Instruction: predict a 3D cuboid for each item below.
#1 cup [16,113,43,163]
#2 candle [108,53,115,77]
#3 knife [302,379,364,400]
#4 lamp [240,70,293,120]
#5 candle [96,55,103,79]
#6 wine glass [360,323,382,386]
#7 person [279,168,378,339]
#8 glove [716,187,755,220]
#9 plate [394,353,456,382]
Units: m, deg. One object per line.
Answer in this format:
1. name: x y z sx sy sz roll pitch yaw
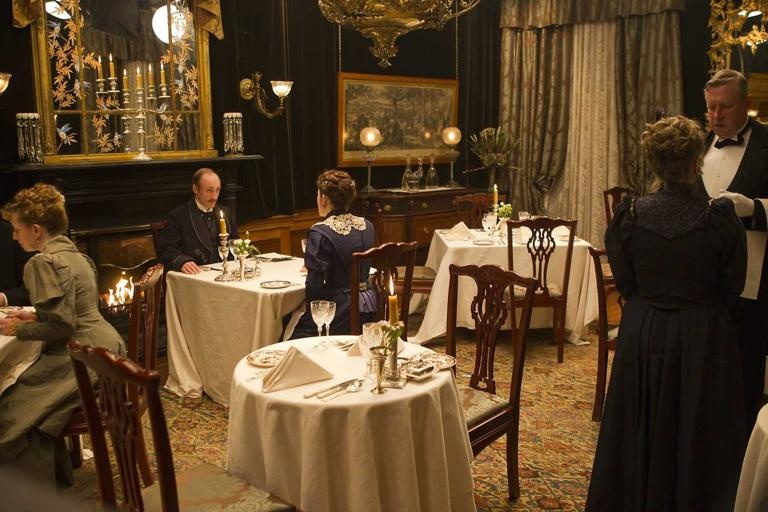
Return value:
1. cup: -3.350 -1.101 5.699 0.219 0.460 0.226 -2 10 0
2. candle: -2.767 -1.920 6.131 0.017 0.229 0.069 8 14 42
3. knife: -0.262 0.717 3.245 0.342 0.035 0.109 -8 12 -29
4. lamp: -1.423 -1.889 7.197 0.380 0.573 0.650 -15 24 -40
5. candle: -2.856 -1.875 6.059 0.014 0.226 0.072 8 14 43
6. wine glass: -0.064 0.528 3.337 0.124 0.316 0.305 -4 11 -13
7. person: -0.434 0.001 4.858 0.688 1.326 0.415 -2 10 0
8. glove: 2.095 -0.306 3.557 0.159 0.120 0.217 7 9 41
9. plate: 0.203 0.634 3.512 0.407 0.062 0.309 -11 14 -42
